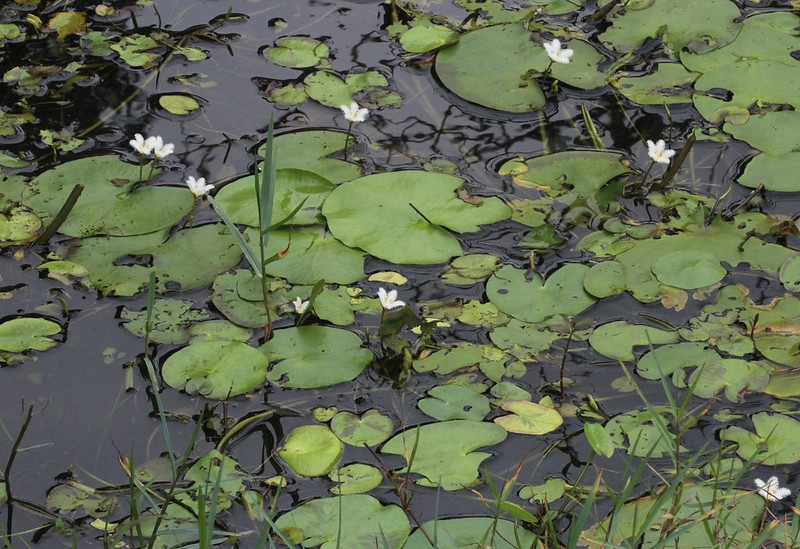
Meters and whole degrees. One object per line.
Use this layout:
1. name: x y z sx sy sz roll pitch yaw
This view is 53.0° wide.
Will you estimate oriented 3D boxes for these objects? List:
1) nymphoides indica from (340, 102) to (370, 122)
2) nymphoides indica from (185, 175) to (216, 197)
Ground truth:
1. nymphoides indica: -0.232 -0.807 4.048 0.198 0.066 0.138 7 41 7
2. nymphoides indica: -0.943 -0.404 3.738 0.173 0.066 0.126 -4 46 -26
